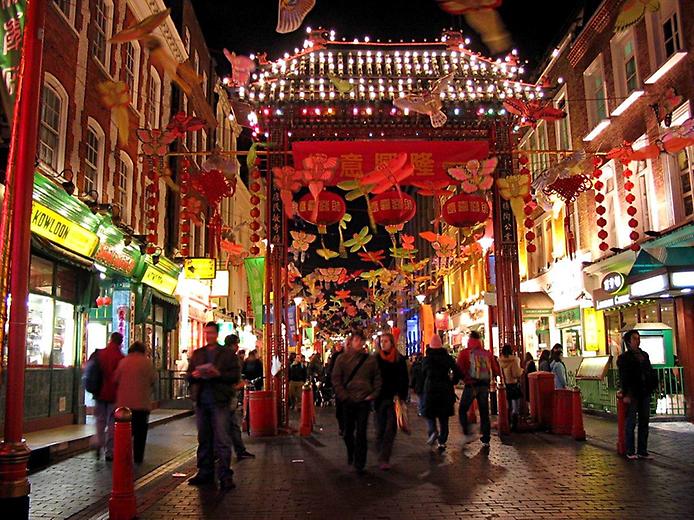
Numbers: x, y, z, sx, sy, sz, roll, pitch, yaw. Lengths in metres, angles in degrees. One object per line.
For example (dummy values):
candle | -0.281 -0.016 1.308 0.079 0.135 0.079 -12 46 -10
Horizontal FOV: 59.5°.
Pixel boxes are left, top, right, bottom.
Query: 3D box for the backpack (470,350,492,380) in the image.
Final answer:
backpack | 2.993 2.333 13.573 0.523 0.687 0.178 1 -13 -11

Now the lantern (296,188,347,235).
lantern | -0.604 -1.292 14.248 1.087 0.757 0.558 0 -14 -4

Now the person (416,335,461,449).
person | 1.969 2.789 12.998 0.844 2.517 0.871 1 -5 -22

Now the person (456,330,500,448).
person | 2.933 2.858 13.610 0.753 2.476 1.073 1 -5 -13

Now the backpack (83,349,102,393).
backpack | -5.186 2.302 12.407 0.301 0.958 0.446 8 -16 -34

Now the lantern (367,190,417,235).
lantern | 1.036 -1.330 14.116 1.042 0.820 0.599 -2 -14 3

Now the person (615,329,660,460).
person | 5.598 2.569 11.700 0.699 2.418 0.752 -8 -15 25

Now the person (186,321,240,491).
person | -2.170 2.397 10.235 0.869 2.572 1.038 0 -5 1

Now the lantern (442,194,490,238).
lantern | 2.759 -1.290 14.267 0.877 0.880 0.875 11 -18 -40

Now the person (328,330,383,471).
person | 0.140 2.556 11.041 0.803 2.485 0.899 5 -14 -23

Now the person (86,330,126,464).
person | -4.916 2.747 12.248 0.596 2.573 0.903 3 0 -9
